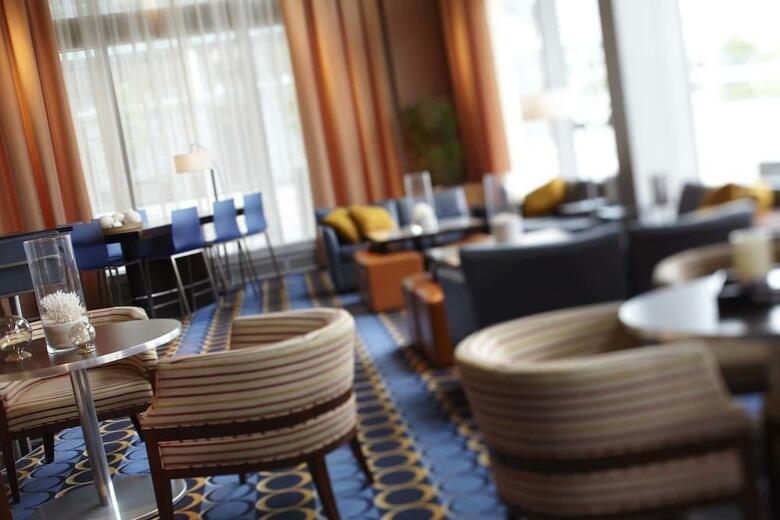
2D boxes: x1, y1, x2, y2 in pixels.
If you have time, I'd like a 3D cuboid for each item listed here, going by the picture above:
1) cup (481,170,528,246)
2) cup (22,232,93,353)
[{"bbox_3d":[0.441,-0.206,2.351,0.132,0.262,0.359,-8,11,10],"label":"cup"},{"bbox_3d":[-1.101,0.110,2.006,0.150,0.376,0.099,-16,13,-26],"label":"cup"}]
